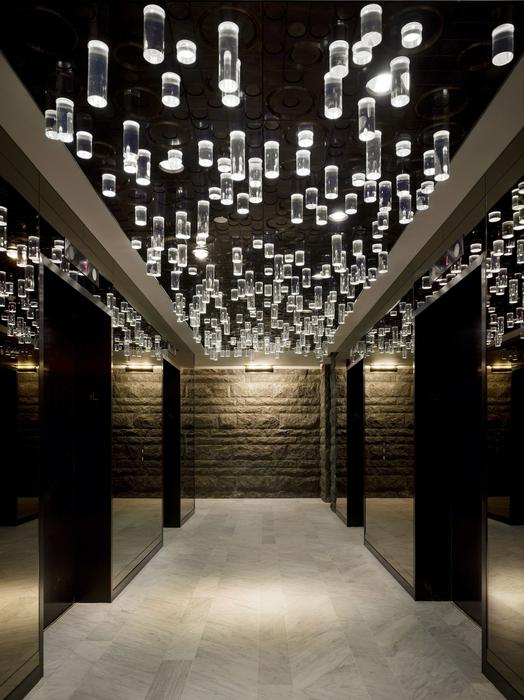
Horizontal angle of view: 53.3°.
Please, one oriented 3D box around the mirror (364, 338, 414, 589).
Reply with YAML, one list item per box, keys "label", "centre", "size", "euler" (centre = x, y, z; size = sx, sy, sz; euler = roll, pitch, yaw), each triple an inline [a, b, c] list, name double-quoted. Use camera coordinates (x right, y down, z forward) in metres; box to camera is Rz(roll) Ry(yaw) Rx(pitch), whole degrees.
- label: "mirror"
  centre: [1.208, 0.966, 5.117]
  size: [0.033, 2.061, 1.721]
  euler: [2, -5, 34]
